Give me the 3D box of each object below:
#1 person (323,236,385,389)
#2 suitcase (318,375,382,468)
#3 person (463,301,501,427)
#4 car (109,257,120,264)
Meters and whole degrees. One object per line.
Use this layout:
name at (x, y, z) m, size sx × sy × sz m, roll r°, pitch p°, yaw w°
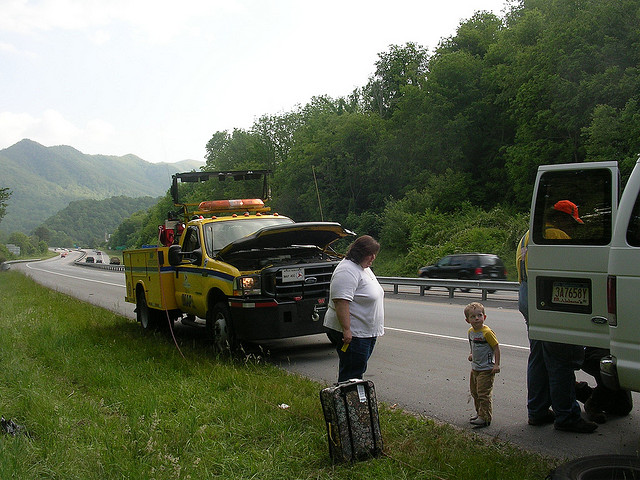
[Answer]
person at (0.364, 0.710, 5.084) m, size 0.607 × 1.121 × 0.362 m, roll 2°, pitch 1°, yaw -1°
suitcase at (0.281, 1.740, 4.615) m, size 0.582 × 0.935 × 0.313 m, roll -8°, pitch 2°, yaw -23°
person at (1.858, 1.437, 5.568) m, size 0.405 × 1.254 × 0.355 m, roll 3°, pitch 1°, yaw 33°
car at (-36.511, 3.533, 86.858) m, size 1.007 × 0.930 × 1.687 m, roll -1°, pitch 10°, yaw -23°
